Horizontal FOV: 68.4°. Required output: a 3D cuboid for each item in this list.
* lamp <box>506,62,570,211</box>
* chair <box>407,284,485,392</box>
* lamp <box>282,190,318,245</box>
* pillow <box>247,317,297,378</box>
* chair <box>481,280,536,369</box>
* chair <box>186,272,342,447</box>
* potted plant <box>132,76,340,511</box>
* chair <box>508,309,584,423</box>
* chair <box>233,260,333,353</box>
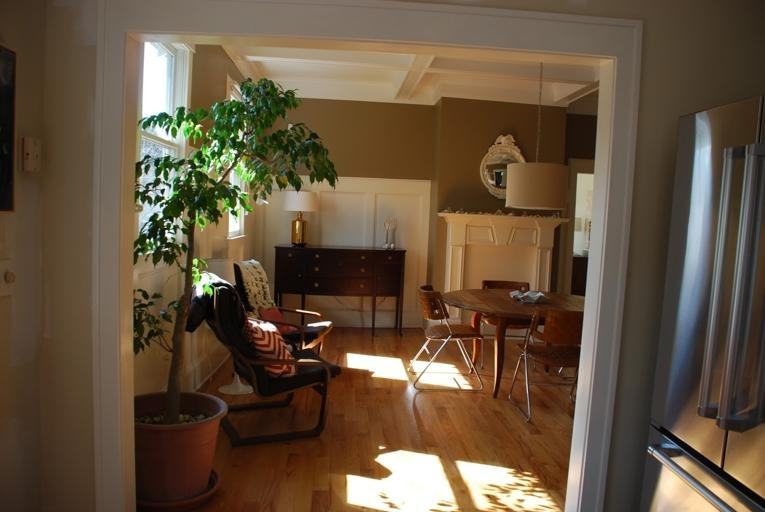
[{"bbox_3d":[1.597,-1.149,5.810,0.878,1.322,0.900,3,-3,8],"label":"lamp"},{"bbox_3d":[0.612,0.806,6.054,0.901,1.219,0.865,-2,1,1],"label":"chair"},{"bbox_3d":[-1.091,-0.480,7.318,0.473,0.739,0.492,2,0,22],"label":"lamp"},{"bbox_3d":[-0.892,0.644,4.328,0.247,0.348,0.476,-11,-18,14],"label":"pillow"},{"bbox_3d":[1.277,0.767,6.204,0.647,0.997,0.719,4,-2,2],"label":"chair"},{"bbox_3d":[-0.910,0.739,4.532,1.087,1.250,0.857,-2,15,-26],"label":"chair"},{"bbox_3d":[-1.237,-0.027,4.601,1.370,2.715,2.523,-1,10,-19],"label":"potted plant"},{"bbox_3d":[1.513,0.914,5.128,0.578,0.982,0.666,6,7,-9],"label":"chair"},{"bbox_3d":[-1.024,0.623,5.691,0.923,1.095,0.625,4,6,10],"label":"chair"}]
